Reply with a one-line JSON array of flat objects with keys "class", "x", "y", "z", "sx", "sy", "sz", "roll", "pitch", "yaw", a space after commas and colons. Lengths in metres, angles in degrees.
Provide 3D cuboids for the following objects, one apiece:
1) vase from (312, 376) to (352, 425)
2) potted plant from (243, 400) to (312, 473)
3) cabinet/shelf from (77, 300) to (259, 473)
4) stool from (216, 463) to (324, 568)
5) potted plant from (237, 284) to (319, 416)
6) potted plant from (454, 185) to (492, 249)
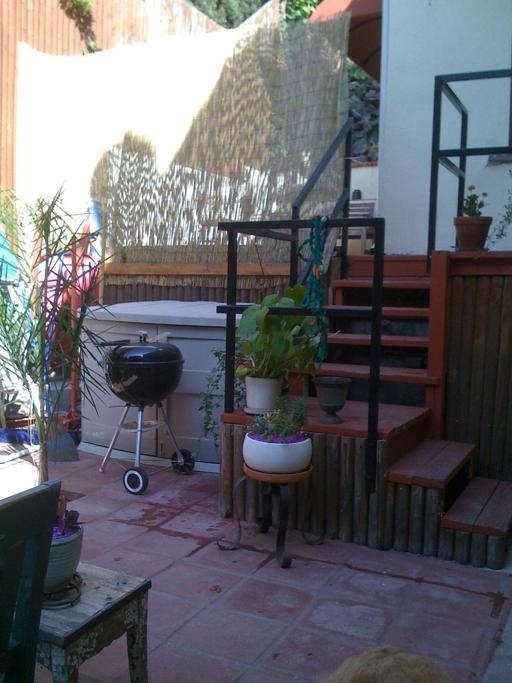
[{"class": "vase", "x": 0.393, "y": 0.311, "z": 3.001, "sx": 0.194, "sy": 0.218, "sz": 0.214, "roll": 2, "pitch": 2, "yaw": 22}, {"class": "potted plant", "x": 0.135, "y": 0.432, "z": 2.669, "sx": 0.313, "sy": 0.315, "sz": 0.314, "roll": 3, "pitch": 4, "yaw": 29}, {"class": "cabinet/shelf", "x": -0.822, "y": 0.226, "z": 4.512, "sx": 1.190, "sy": 1.081, "sz": 1.124, "roll": -1, "pitch": 6, "yaw": -15}, {"class": "stool", "x": 0.050, "y": 0.785, "z": 2.712, "sx": 0.402, "sy": 0.383, "sz": 0.444, "roll": 4, "pitch": -1, "yaw": -7}, {"class": "potted plant", "x": 0.108, "y": 0.076, "z": 3.138, "sx": 0.453, "sy": 0.651, "sz": 0.450, "roll": 7, "pitch": -4, "yaw": -6}, {"class": "potted plant", "x": 1.430, "y": -0.822, "z": 3.803, "sx": 0.211, "sy": 0.393, "sz": 0.220, "roll": 4, "pitch": 1, "yaw": 13}]
